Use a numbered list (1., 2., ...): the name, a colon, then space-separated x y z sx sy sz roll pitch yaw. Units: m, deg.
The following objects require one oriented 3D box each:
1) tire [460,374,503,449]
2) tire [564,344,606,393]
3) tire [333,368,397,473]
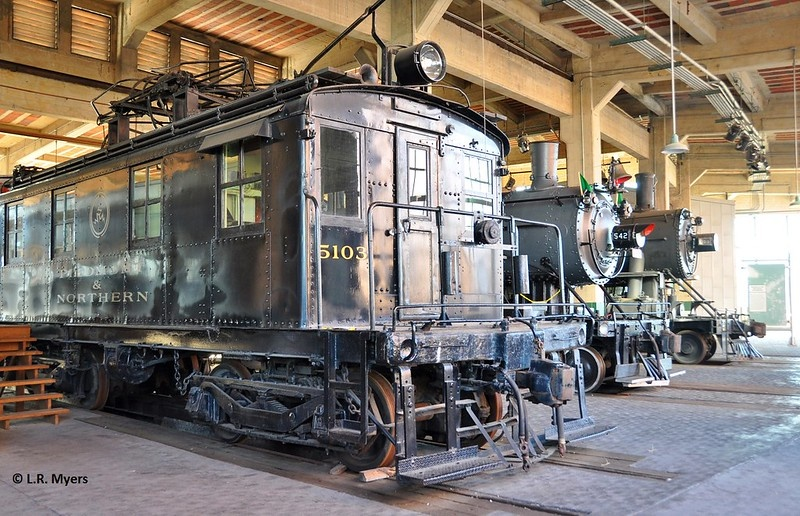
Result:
1. tire: 1.299 2.435 9.699 0.694 0.725 0.724 -7 -8 -32
2. tire: 4.292 2.501 14.401 0.298 0.977 0.982 0 -2 -30
3. tire: -0.457 2.190 8.632 0.247 1.383 1.232 5 -19 -40
